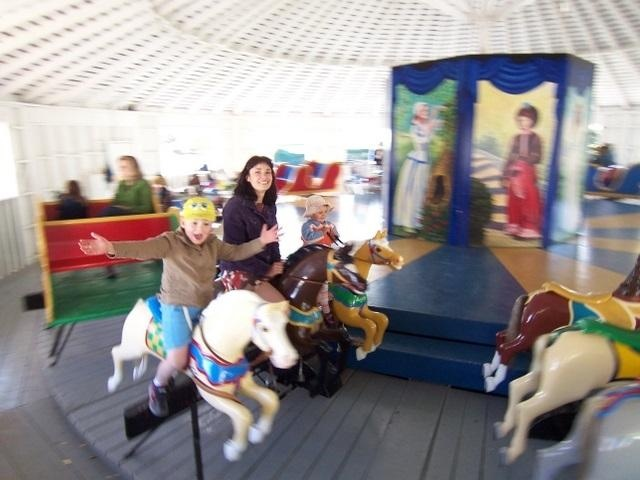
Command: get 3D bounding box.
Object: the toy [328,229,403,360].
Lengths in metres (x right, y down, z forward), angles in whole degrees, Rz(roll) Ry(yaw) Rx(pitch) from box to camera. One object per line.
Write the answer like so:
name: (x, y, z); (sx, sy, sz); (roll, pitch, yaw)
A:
toy: (0.311, 0.465, 3.956); (0.407, 1.096, 1.396); (1, 0, -25)

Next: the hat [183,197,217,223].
hat: (-0.808, -0.196, 2.877); (0.151, 0.109, 0.203); (7, -2, -30)

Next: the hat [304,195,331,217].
hat: (-0.020, -0.317, 4.148); (0.258, 0.219, 0.290); (-1, 12, 1)
